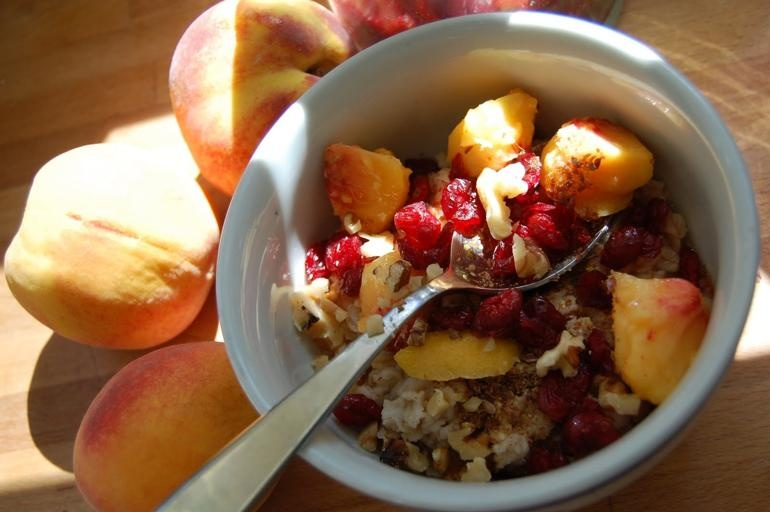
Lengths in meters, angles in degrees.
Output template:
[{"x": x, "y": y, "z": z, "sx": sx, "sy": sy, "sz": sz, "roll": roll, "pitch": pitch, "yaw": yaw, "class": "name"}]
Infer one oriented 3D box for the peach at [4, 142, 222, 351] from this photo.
[{"x": -0.594, "y": 0.010, "z": 1.760, "sx": 0.424, "sy": 0.243, "sz": 0.434, "roll": 25, "pitch": 79, "yaw": -2, "class": "peach"}]
